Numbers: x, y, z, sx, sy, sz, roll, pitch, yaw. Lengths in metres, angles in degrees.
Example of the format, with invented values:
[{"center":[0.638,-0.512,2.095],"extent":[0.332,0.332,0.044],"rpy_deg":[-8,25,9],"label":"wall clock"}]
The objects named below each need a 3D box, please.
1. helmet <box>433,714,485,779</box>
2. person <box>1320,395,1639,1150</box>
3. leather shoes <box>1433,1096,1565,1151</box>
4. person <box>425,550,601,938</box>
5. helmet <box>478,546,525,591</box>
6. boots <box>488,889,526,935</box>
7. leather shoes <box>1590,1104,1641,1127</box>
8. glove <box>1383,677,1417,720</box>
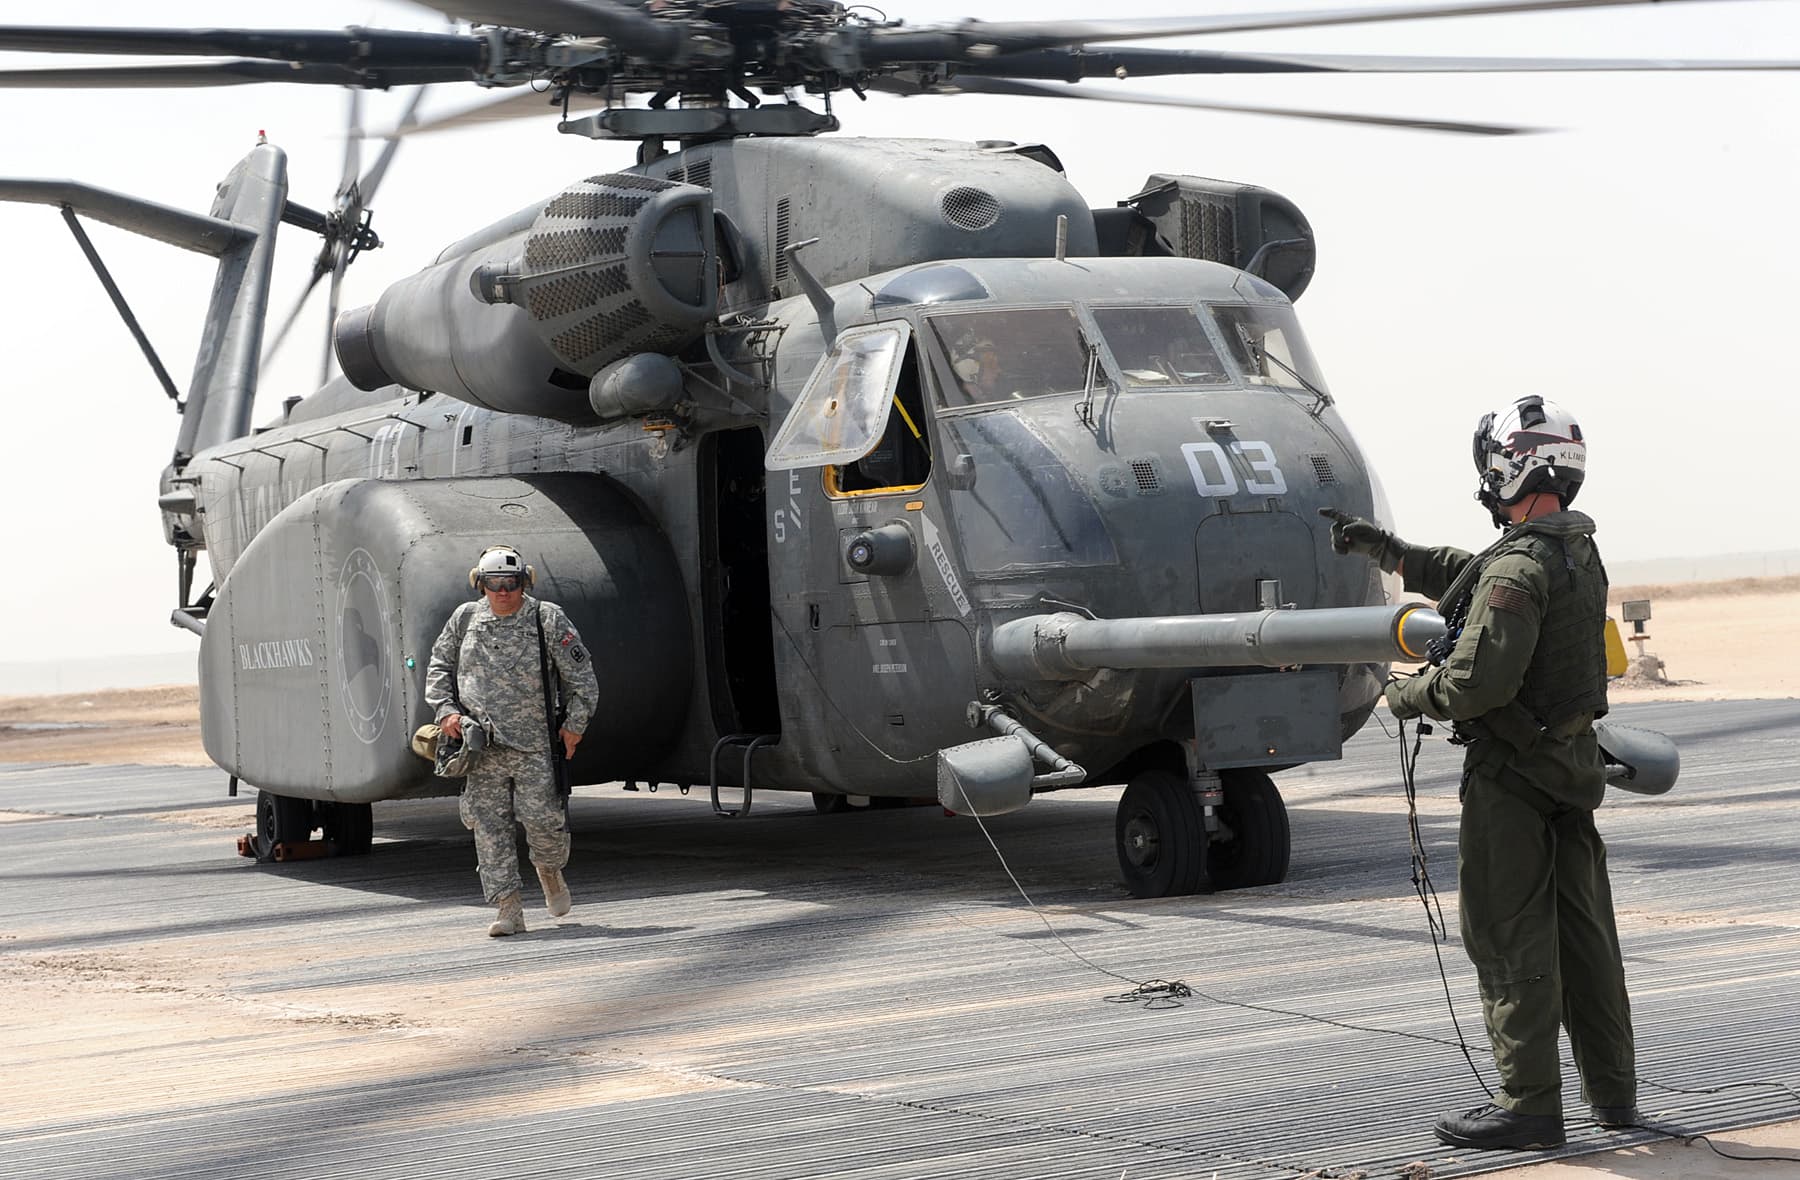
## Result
[{"center":[-3.008,1.054,11.189],"extent":[0.404,0.401,0.184],"rpy_deg":[-2,4,27],"label":"helmet"},{"center":[2.434,0.687,6.476],"extent":[0.676,2.895,1.013],"rpy_deg":[-2,4,41],"label":"person"},{"center":[2.290,2.038,6.295],"extent":[0.486,0.147,0.174],"rpy_deg":[3,-4,3],"label":"leather shoes"},{"center":[-2.664,1.029,11.294],"extent":[1.191,2.618,0.566],"rpy_deg":[-6,3,-12],"label":"person"},{"center":[-2.746,-0.152,11.379],"extent":[0.351,0.254,0.325],"rpy_deg":[-1,-18,-12],"label":"helmet"},{"center":[-2.686,2.186,11.186],"extent":[0.248,0.292,0.268],"rpy_deg":[-5,3,-13],"label":"boots"},{"center":[2.810,2.053,6.425],"extent":[0.078,0.066,0.172],"rpy_deg":[-2,-11,-15],"label":"leather shoes"},{"center":[2.043,0.430,6.659],"extent":[0.142,0.154,0.070],"rpy_deg":[-19,-42,25],"label":"glove"}]
